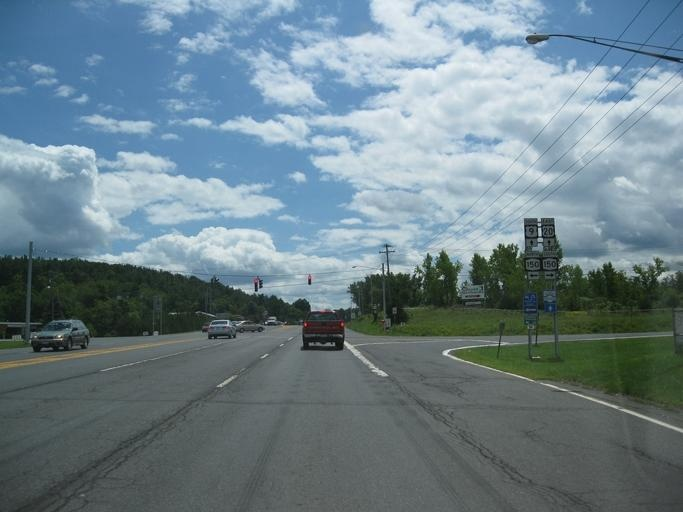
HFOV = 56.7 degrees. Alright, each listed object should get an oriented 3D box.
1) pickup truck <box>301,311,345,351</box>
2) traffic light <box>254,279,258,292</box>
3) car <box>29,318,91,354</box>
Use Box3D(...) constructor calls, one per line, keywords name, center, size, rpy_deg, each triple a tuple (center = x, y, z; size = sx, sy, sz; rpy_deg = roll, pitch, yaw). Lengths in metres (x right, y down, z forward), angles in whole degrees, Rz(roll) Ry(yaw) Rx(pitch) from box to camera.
Box3D(name="pickup truck", center=(-0.904, 3.706, 31.540), size=(1.972, 1.988, 2.601), rpy_deg=(0, -2, -2))
Box3D(name="traffic light", center=(-8.207, 2.803, 61.210), size=(0.285, 1.153, 0.838), rpy_deg=(0, -1, 4))
Box3D(name="car", center=(-15.099, 4.274, 34.243), size=(1.589, 1.350, 3.034), rpy_deg=(-2, -16, -1))
